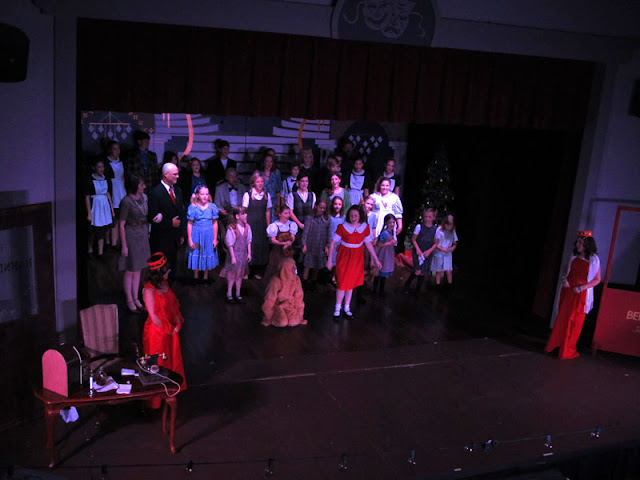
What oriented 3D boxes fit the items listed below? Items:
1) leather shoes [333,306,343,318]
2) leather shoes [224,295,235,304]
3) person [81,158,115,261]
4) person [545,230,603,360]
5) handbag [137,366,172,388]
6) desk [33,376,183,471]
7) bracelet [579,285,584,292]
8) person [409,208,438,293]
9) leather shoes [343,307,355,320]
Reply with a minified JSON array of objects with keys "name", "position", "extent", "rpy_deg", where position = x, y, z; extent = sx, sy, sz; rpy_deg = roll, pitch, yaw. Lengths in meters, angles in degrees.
[{"name":"leather shoes","position":[0.266,1.046,7.084],"extent":[0.115,0.148,0.380],"rpy_deg":[1,7,3]},{"name":"leather shoes","position":[-1.350,0.901,7.317],"extent":[0.087,0.064,0.195],"rpy_deg":[-2,8,-22]},{"name":"person","position":[-3.638,-0.537,8.066],"extent":[0.409,1.562,0.535],"rpy_deg":[-1,12,-24]},{"name":"person","position":[3.309,0.735,6.283],"extent":[0.306,1.696,0.462],"rpy_deg":[-3,13,-30]},{"name":"handbag","position":[-1.550,1.264,4.495],"extent":[0.149,0.076,0.210],"rpy_deg":[0,14,-28]},{"name":"desk","position":[-1.875,1.648,4.423],"extent":[1.206,0.826,0.384],"rpy_deg":[0,12,-24]},{"name":"bracelet","position":[3.274,0.606,6.078],"extent":[0.060,0.067,0.017],"rpy_deg":[21,4,-2]},{"name":"person","position":[1.732,0.154,8.131],"extent":[0.401,1.396,0.783],"rpy_deg":[6,11,13]},{"name":"leather shoes","position":[0.428,1.071,7.118],"extent":[0.096,0.144,0.193],"rpy_deg":[-3,6,-23]}]
